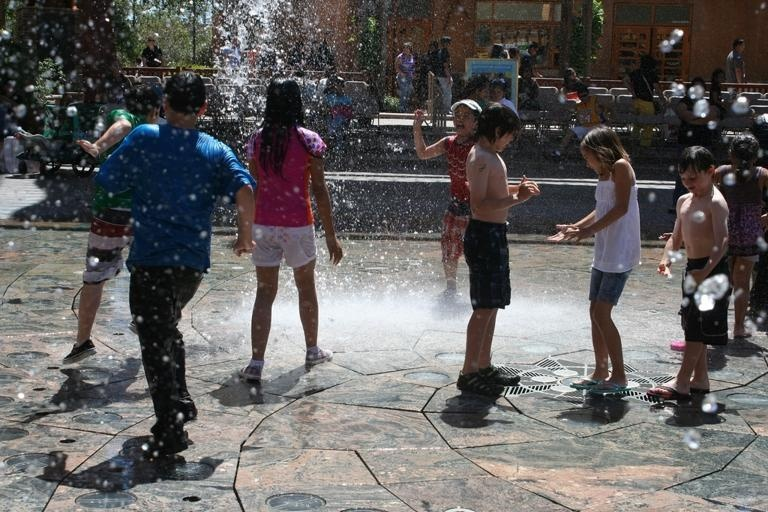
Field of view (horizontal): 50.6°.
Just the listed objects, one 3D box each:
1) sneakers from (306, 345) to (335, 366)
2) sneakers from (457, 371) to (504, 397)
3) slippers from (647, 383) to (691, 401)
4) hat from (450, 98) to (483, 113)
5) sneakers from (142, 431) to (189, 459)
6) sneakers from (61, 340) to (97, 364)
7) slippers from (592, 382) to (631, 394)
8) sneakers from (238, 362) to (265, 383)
[{"bbox_3d":[-0.532,0.819,6.820,0.102,0.120,0.254,8,14,36],"label":"sneakers"},{"bbox_3d":[0.733,0.968,6.329,0.402,0.180,0.140,4,19,10],"label":"sneakers"},{"bbox_3d":[2.182,1.033,6.224,0.264,0.083,0.133,2,-3,-7],"label":"slippers"},{"bbox_3d":[0.767,-1.393,7.554,0.236,0.111,0.192,4,9,20],"label":"hat"},{"bbox_3d":[-1.463,1.231,5.429,0.323,0.139,0.236,-2,9,-14],"label":"sneakers"},{"bbox_3d":[-2.445,0.767,6.536,0.338,0.150,0.129,-26,1,26],"label":"sneakers"},{"bbox_3d":[1.759,1.012,6.285,0.219,0.054,0.118,-1,4,-9],"label":"slippers"},{"bbox_3d":[-1.035,0.910,6.397,0.098,0.129,0.204,0,11,-29],"label":"sneakers"}]
